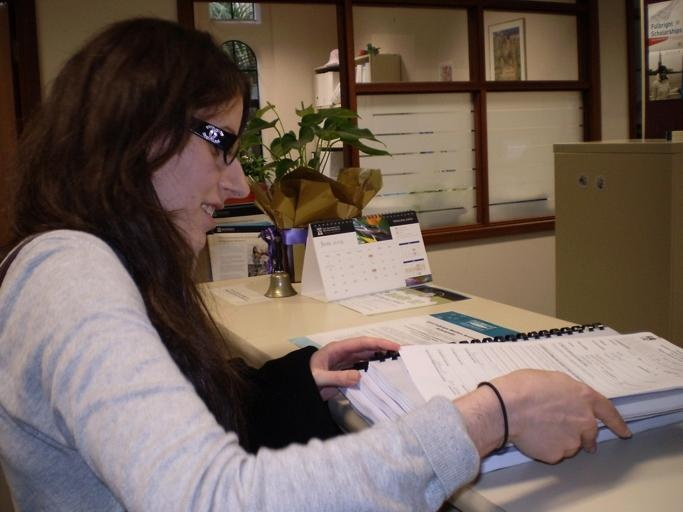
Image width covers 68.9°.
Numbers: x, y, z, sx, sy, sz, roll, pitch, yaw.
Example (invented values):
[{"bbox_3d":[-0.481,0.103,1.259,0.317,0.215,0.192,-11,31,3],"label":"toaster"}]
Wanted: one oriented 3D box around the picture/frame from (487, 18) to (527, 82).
[{"bbox_3d":[1.384,-1.674,4.189,0.275,0.531,0.055,-1,-7,14],"label":"picture/frame"}]
